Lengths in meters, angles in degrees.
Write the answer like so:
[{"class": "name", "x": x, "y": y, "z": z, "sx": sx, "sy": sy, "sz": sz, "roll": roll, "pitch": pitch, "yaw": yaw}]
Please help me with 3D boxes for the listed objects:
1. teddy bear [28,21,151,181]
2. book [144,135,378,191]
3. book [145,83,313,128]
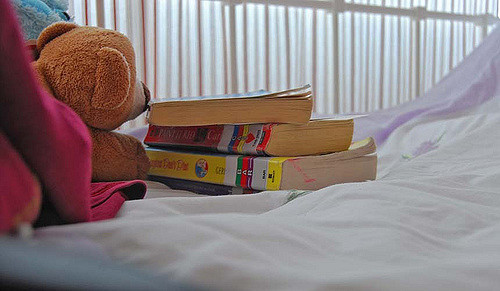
[{"class": "teddy bear", "x": -0.339, "y": -0.091, "z": 0.820, "sx": 0.230, "sy": 0.344, "sz": 0.247, "roll": 2, "pitch": 11, "yaw": -9}, {"class": "book", "x": 0.014, "y": 0.043, "z": 0.978, "sx": 0.369, "sy": 0.126, "sz": 0.495, "roll": -1, "pitch": 1, "yaw": -42}, {"class": "book", "x": -0.088, "y": -0.111, "z": 1.003, "sx": 0.306, "sy": 0.069, "sz": 0.311, "roll": -4, "pitch": -3, "yaw": 27}]
